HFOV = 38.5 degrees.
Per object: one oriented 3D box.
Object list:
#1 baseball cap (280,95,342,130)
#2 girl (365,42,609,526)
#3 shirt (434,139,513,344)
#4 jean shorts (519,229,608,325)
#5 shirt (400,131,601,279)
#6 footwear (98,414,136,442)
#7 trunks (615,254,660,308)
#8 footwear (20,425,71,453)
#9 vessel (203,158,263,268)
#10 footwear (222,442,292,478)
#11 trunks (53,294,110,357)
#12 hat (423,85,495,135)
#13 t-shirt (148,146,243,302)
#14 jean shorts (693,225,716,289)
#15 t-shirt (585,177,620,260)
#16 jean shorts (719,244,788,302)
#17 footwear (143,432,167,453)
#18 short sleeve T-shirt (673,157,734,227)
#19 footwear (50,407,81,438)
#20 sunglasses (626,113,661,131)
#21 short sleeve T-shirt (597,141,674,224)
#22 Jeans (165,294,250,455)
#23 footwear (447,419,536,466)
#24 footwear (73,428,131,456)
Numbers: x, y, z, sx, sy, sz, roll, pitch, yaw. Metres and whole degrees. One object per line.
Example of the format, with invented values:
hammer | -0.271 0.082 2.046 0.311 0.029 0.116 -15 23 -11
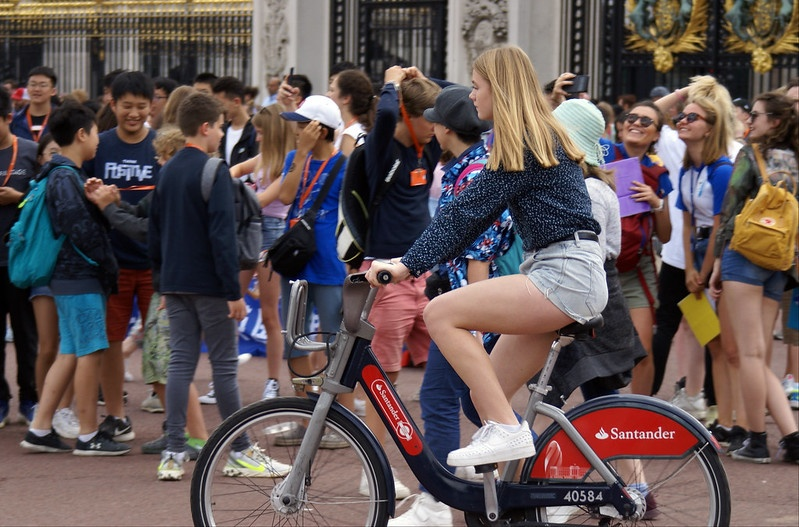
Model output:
baseball cap | -0.713 -1.249 9.671 0.402 0.222 0.274 17 8 -4
girl | 0.745 0.003 7.829 1.350 2.988 0.497 0 4 0
shirt | 0.522 -0.140 7.976 0.573 1.639 1.316 -3 4 4
jean shorts | 1.169 0.096 8.106 0.595 0.710 0.834 2 -7 5
shirt | 0.593 -0.387 8.195 1.431 0.752 1.348 -10 -3 -21
footwear | -2.438 1.400 9.783 0.340 0.173 0.147 12 1 -27
trunks | 2.044 0.127 9.849 0.354 0.489 0.270 -21 -46 36
footwear | -2.971 1.499 9.724 0.466 0.243 0.171 9 1 -17
vessel | -1.410 -0.426 9.818 0.462 0.922 0.671 1 1 -5
footwear | -1.104 1.461 8.599 0.571 0.301 0.235 2 -2 0
trunks | -2.676 0.494 9.632 0.362 0.596 0.555 -8 9 -43
hat | 0.428 -1.215 8.475 0.567 0.305 0.408 8 38 -4
t-shirt | -1.615 -0.294 9.053 1.042 1.451 0.502 6 9 29
jean shorts | 2.650 -0.092 10.066 0.141 0.421 0.289 5 7 3
t-shirt | 1.466 -0.328 8.334 0.242 0.452 0.409 -12 28 1
jean shorts | 2.919 0.066 9.584 0.537 0.427 0.393 18 5 -3
footwear | -2.072 1.512 9.712 0.231 0.153 0.251 0 4 1
short sleeve T-shirt | 2.673 -0.632 9.981 0.351 0.633 0.623 9 -3 -23
footwear | -2.913 1.386 10.068 0.300 0.147 0.142 26 11 15
sunglasses | 2.123 -1.237 9.945 0.299 0.149 0.129 1 4 8
short sleeve T-shirt | 2.027 -0.902 9.978 0.712 0.770 0.310 21 40 34
Jeans | -1.592 0.712 9.179 0.676 2.023 0.473 -1 -39 -15
footwear | 0.646 1.220 7.847 0.683 0.332 0.251 -2 -6 -1
footwear | -2.495 1.506 9.695 0.510 0.252 0.194 1 -1 -4
